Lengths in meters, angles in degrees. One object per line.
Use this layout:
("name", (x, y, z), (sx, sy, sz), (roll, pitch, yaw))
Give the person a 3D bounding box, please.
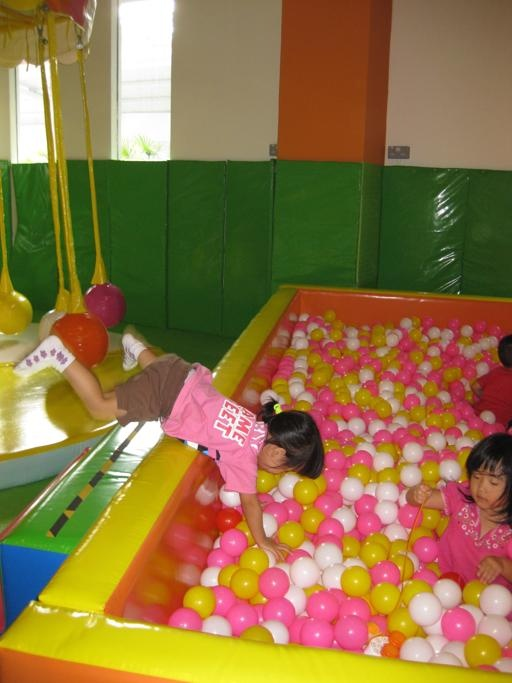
("person", (-0.246, 0.291, 1.529), (0.817, 0.304, 0.491), (26, 29, -9))
